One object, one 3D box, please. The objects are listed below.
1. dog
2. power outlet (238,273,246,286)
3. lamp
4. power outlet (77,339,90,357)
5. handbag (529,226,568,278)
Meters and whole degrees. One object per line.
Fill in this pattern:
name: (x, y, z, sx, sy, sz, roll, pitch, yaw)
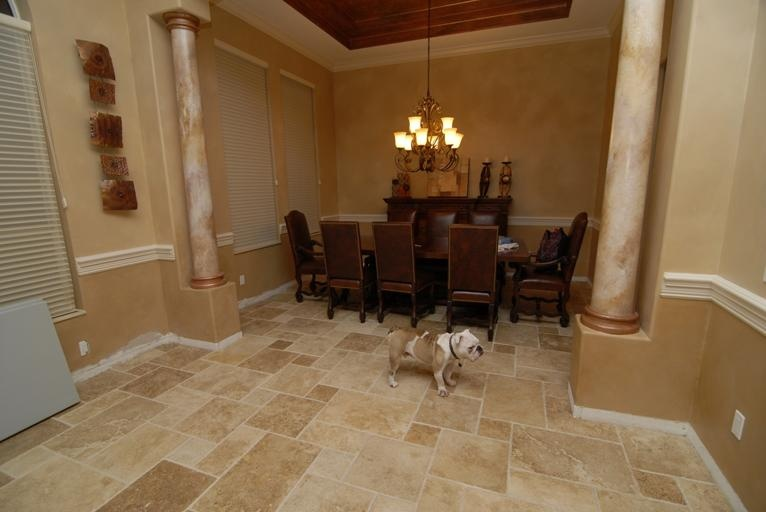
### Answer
dog: (0.471, 0.994, 4.751, 0.939, 0.636, 0.365, 5, 12, 21)
power outlet: (-1.864, 0.308, 6.431, 0.015, 0.162, 0.156, -4, -2, 19)
lamp: (0.666, -2.241, 6.648, 0.968, 2.290, 2.304, 1, 12, 3)
power outlet: (-2.983, 0.914, 4.848, 0.019, 0.199, 0.140, -2, 9, 25)
handbag: (2.081, -0.047, 6.074, 0.265, 0.686, 0.541, 14, 19, -4)
